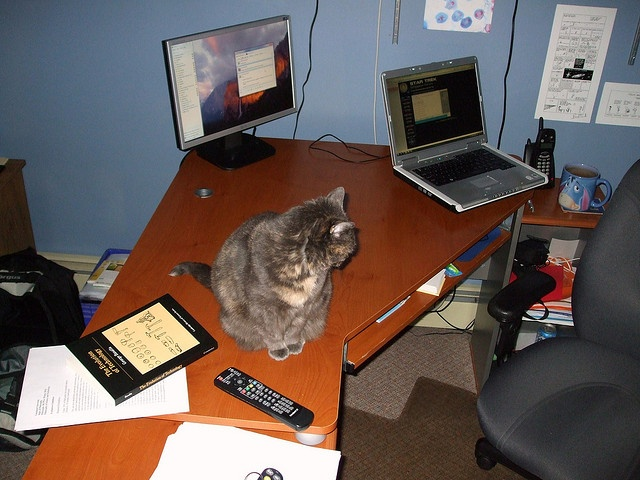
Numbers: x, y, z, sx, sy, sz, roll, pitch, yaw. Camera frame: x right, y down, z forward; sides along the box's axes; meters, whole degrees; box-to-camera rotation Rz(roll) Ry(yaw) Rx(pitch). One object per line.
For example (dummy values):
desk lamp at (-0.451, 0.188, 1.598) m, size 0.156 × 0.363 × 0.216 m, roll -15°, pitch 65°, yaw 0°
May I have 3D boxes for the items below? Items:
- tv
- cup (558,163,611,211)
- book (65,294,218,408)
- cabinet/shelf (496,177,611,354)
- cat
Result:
tv at (-0.319, -0.585, 1.987) m, size 0.551 × 0.521 × 0.258 m, roll -6°, pitch 11°, yaw 20°
cup at (1.097, -0.209, 2.009) m, size 0.133 × 0.151 × 0.210 m, roll -22°, pitch 33°, yaw -31°
book at (-0.499, 0.297, 1.369) m, size 0.243 × 0.040 × 0.286 m, roll 37°, pitch 43°, yaw 28°
cabinet/shelf at (0.971, 0.131, 2.246) m, size 0.635 × 0.653 × 0.451 m, roll 11°, pitch 44°, yaw 18°
cat at (-0.199, 0.052, 1.523) m, size 0.689 × 0.461 × 0.367 m, roll 17°, pitch 27°, yaw 27°
